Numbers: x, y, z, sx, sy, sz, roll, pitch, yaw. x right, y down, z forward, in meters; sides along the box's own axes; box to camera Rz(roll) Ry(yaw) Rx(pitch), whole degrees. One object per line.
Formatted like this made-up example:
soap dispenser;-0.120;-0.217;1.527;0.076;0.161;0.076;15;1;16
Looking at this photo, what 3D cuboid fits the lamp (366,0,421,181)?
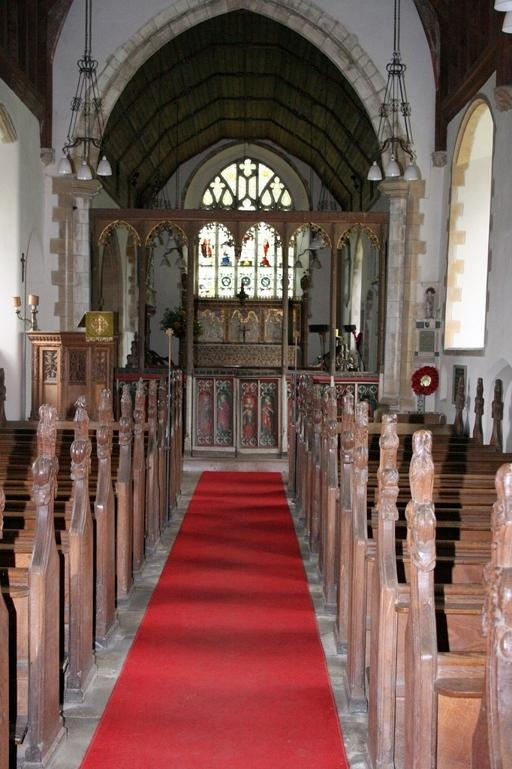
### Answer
lamp;1.904;-3.887;9.928;0.575;2.771;2.344;1;2;13
